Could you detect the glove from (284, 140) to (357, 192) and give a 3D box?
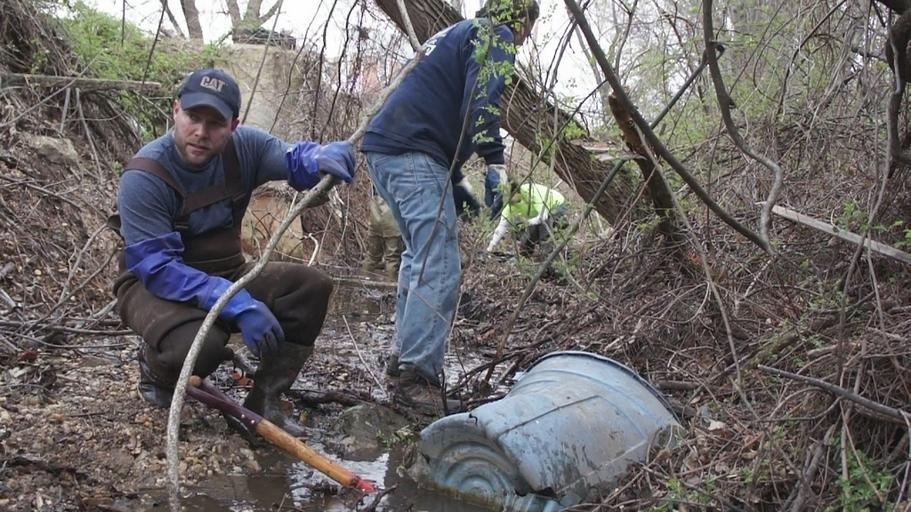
[{"bbox_3d":[-1.100,-0.704,5.723,0.504,0.227,0.367,-1,42,5],"label":"glove"}]

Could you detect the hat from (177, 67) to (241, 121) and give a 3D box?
[{"bbox_3d":[-1.878,-1.245,5.435,0.449,0.357,0.240,3,14,-23],"label":"hat"}]
